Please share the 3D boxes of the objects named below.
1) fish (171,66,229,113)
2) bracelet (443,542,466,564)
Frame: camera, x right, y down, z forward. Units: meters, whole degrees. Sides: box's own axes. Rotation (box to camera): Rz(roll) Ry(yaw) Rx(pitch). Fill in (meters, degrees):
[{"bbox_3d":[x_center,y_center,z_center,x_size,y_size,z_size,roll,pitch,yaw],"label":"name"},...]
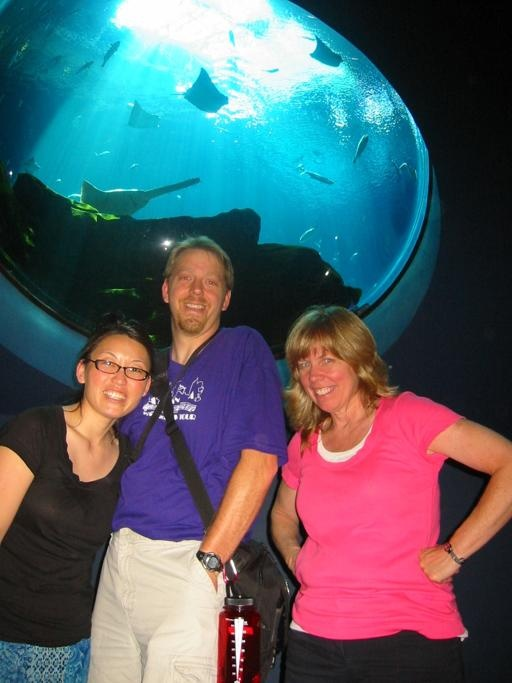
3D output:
[{"bbox_3d":[-0.945,-4.647,10.808,0.762,0.701,0.196,40,39,-3],"label":"fish"},{"bbox_3d":[0.774,0.826,2.264,0.081,0.033,0.062,50,-6,-19],"label":"bracelet"}]
